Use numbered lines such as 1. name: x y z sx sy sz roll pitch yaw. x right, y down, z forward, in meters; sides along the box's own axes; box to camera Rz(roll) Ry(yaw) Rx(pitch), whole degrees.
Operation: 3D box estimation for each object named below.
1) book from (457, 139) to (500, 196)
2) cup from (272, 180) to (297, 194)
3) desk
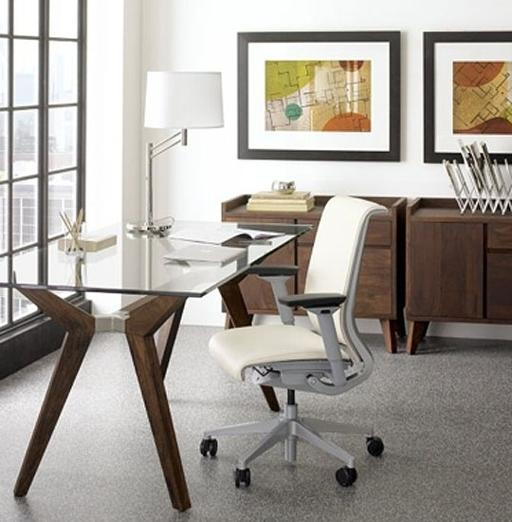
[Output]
1. book: 1.575 -0.676 3.532 0.135 0.368 0.275 -24 23 31
2. cup: 0.195 -0.546 3.731 0.122 0.054 0.114 0 2 0
3. desk: -0.423 0.404 2.171 0.912 0.934 1.040 3 10 20
